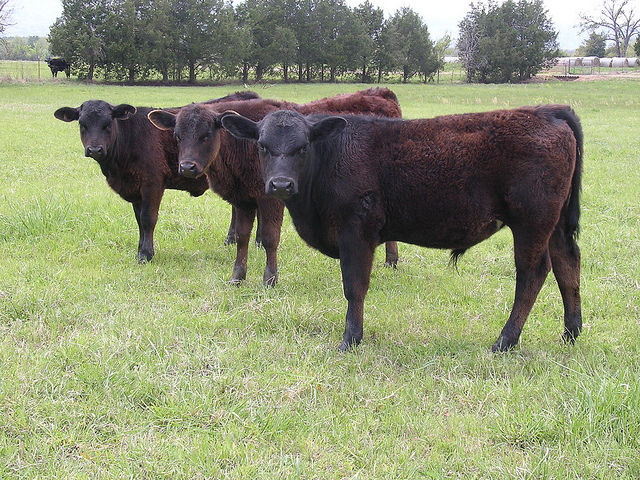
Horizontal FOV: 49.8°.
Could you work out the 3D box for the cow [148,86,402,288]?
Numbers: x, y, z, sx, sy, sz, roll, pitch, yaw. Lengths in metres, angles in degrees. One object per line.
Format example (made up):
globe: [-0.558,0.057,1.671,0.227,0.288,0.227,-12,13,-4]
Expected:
cow: [-0.240,-0.841,10.805,4.752,2.824,1.269,-12,19,-42]

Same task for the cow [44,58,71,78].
cow: [-21.893,-14.409,57.997,1.625,1.507,3.425,-3,17,-19]
